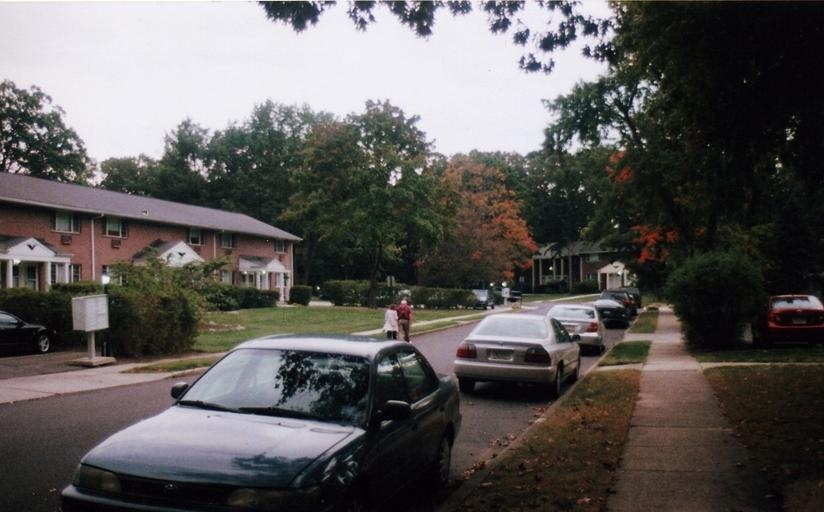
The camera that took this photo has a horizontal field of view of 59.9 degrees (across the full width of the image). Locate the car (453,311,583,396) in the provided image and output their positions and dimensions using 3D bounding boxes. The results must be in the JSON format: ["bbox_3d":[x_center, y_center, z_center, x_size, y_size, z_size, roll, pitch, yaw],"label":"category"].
[{"bbox_3d":[2.728,2.549,18.316,3.274,1.942,1.935,0,4,-10],"label":"car"}]
